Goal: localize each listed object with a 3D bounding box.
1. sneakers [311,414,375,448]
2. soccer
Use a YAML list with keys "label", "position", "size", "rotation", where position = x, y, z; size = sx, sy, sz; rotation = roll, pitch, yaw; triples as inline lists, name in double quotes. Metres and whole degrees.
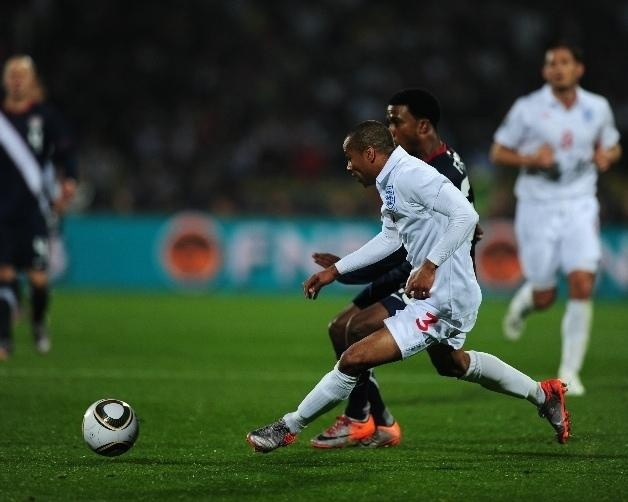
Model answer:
- label: "sneakers"
  position: [0.206, 1.168, 6.081]
  size: [0.460, 0.214, 0.163]
  rotation: [-7, 1, -14]
- label: "soccer"
  position: [-1.239, 1.013, 5.674]
  size: [0.316, 0.320, 0.320]
  rotation: [1, 32, -2]
